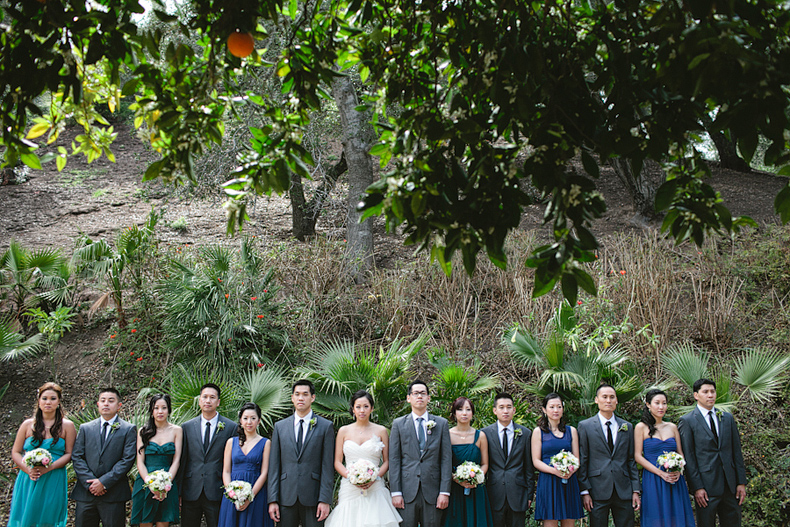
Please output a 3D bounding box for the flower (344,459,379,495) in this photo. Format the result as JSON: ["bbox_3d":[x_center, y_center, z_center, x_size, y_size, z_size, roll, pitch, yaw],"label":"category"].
[{"bbox_3d":[-0.405,2.624,8.197,0.343,0.386,0.372,14,15,3],"label":"flower"}]

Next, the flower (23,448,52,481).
[{"bbox_3d":[-4.571,2.543,8.362,0.272,0.295,0.263,-27,34,-35],"label":"flower"}]

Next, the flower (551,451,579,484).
[{"bbox_3d":[2.193,2.566,8.384,0.382,0.286,0.290,-1,-3,0],"label":"flower"}]

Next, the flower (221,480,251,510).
[{"bbox_3d":[-1.962,2.871,8.019,0.365,0.393,0.206,-3,-3,40],"label":"flower"}]

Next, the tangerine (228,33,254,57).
[{"bbox_3d":[-1.055,-1.510,4.525,0.158,0.210,0.168,-1,6,-12],"label":"tangerine"}]

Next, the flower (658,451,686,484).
[{"bbox_3d":[3.530,2.618,8.330,0.313,0.387,0.244,-1,-3,10],"label":"flower"}]
